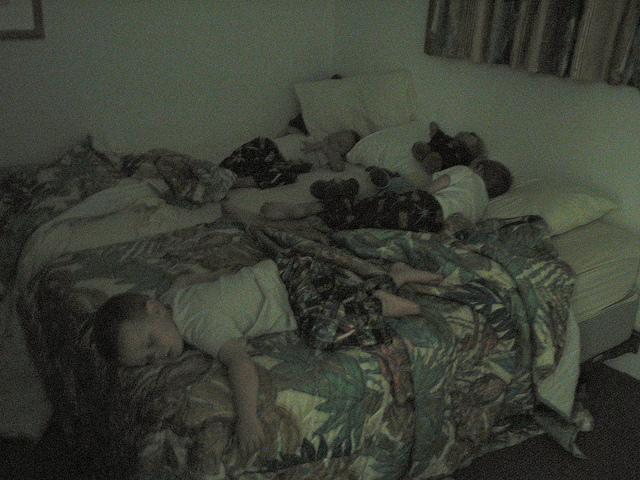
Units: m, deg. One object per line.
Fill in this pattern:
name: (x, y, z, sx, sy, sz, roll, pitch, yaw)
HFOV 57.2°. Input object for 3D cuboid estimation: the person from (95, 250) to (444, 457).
person: (-0.190, 0.322, 1.952, 0.859, 0.238, 0.621, -9, 24, -22)

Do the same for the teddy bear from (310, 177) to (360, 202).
teddy bear: (0.061, -0.214, 2.490, 0.178, 0.051, 0.106, -3, 31, 4)

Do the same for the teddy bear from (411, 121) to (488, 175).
teddy bear: (0.563, -0.412, 2.623, 0.245, 0.200, 0.328, -12, 21, -29)
